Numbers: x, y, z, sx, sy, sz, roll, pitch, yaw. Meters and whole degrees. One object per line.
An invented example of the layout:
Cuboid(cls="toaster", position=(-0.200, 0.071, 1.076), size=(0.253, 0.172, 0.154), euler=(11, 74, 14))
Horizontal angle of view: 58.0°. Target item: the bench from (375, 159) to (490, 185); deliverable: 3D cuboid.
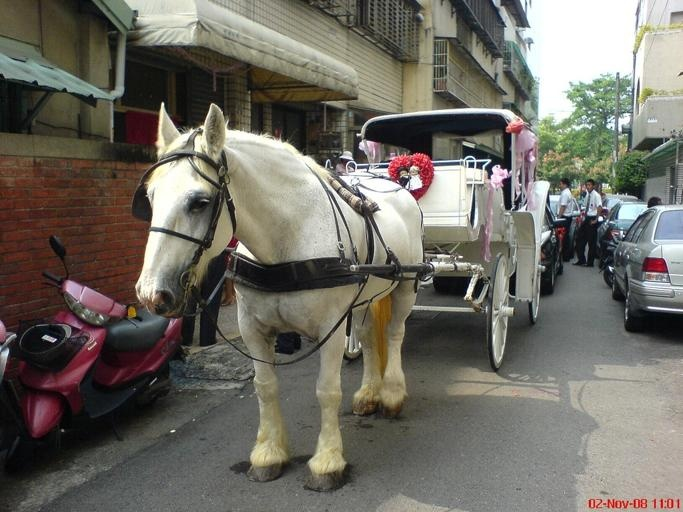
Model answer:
Cuboid(cls="bench", position=(1.021, -0.959, 7.034), size=(0.634, 0.243, 0.488), euler=(1, 3, 22))

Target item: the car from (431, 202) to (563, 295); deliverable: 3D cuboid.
Cuboid(cls="car", position=(3.622, -0.092, 12.315), size=(1.616, 1.439, 2.712), euler=(1, 3, 36))

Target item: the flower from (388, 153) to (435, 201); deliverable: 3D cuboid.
Cuboid(cls="flower", position=(0.866, -0.900, 7.104), size=(0.404, 0.567, 0.265), euler=(3, 7, 20))

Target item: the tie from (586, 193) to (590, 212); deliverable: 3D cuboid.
Cuboid(cls="tie", position=(6.717, -1.459, 16.743), size=(0.061, 0.128, 0.552), euler=(0, 25, 24))

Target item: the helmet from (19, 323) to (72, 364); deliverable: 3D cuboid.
Cuboid(cls="helmet", position=(-2.488, 0.748, 5.203), size=(0.377, 0.277, 0.311), euler=(-3, 12, -14))
